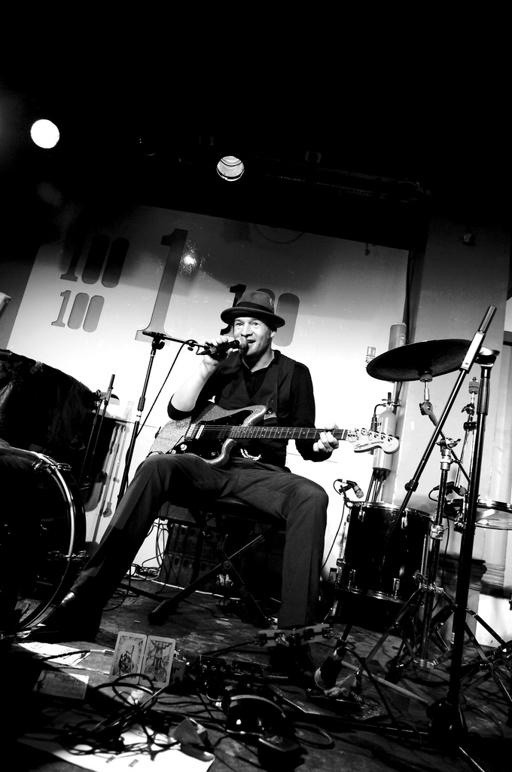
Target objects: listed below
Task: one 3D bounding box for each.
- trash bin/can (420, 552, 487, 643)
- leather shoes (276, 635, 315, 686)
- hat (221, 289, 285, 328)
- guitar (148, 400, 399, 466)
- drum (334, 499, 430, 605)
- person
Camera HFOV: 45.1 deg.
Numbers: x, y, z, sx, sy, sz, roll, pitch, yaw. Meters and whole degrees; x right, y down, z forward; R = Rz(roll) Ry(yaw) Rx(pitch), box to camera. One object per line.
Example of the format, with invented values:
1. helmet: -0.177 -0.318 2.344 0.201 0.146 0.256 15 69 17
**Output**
1. trash bin/can: 1.205 1.355 3.828 0.397 0.504 0.408 21 -20 -31
2. leather shoes: 0.123 0.921 2.112 0.105 0.181 0.044 2 -24 8
3. hat: -0.022 -0.447 3.641 0.322 0.193 0.371 4 -20 21
4. guitar: 0.021 0.267 2.737 1.054 0.427 0.124 -1 -51 25
5. drum: 0.695 0.900 3.293 0.450 0.470 0.493 11 -16 6
6. person: -0.219 0.302 2.679 1.029 1.700 0.903 7 -20 -5
